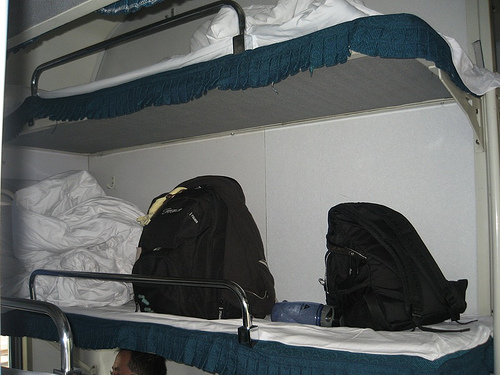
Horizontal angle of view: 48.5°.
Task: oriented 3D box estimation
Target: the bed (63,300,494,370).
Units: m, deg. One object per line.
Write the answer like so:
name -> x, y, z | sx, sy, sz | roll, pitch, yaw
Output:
bed -> 0.072, 0.633, 2.371 | 1.774, 0.331, 0.541 | -10, -15, 26

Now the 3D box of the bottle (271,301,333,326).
bottle -> 0.235, 0.546, 2.459 | 0.211, 0.084, 0.109 | -4, -9, 27

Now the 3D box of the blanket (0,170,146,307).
blanket -> -0.969, 0.245, 3.085 | 0.726, 0.843, 0.578 | 1, -13, -13
